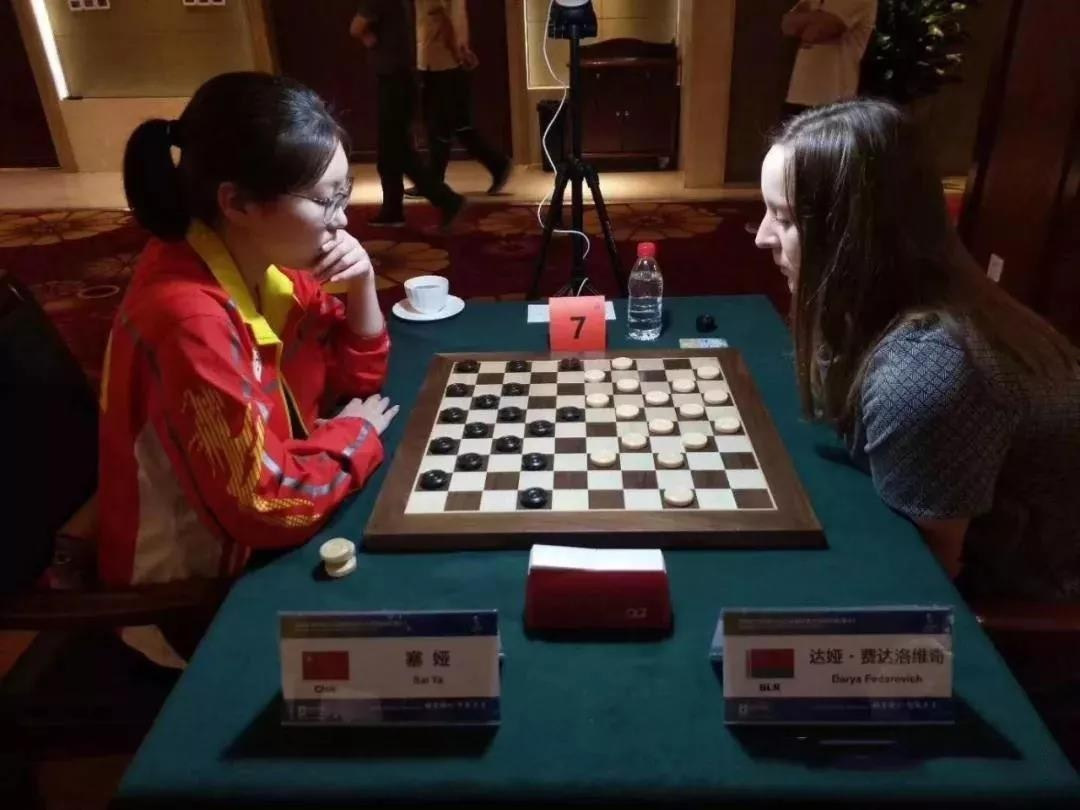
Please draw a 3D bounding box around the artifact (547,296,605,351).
[{"bbox_3d":[0.088,-0.194,1.907,0.114,0.118,0.040,-1,9,0],"label":"artifact"}]

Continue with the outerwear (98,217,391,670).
[{"bbox_3d":[-0.615,0.085,1.665,0.543,0.944,0.598,14,21,1],"label":"outerwear"}]

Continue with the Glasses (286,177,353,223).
[{"bbox_3d":[-0.396,-0.378,1.486,0.085,0.030,0.087,12,31,-1],"label":"Glasses"}]
